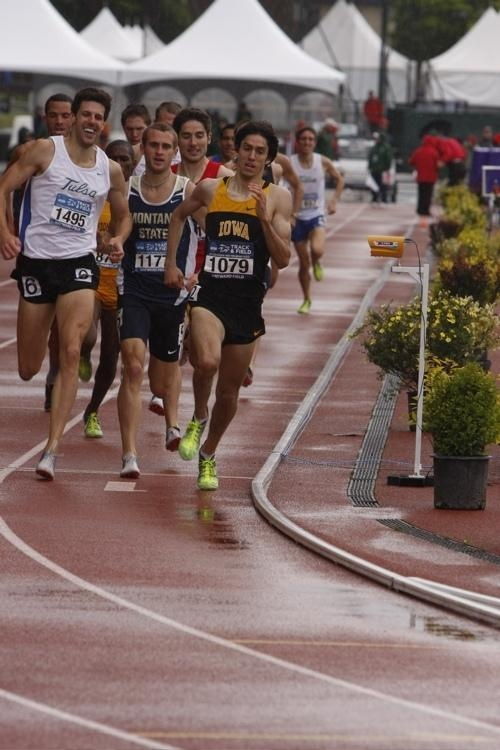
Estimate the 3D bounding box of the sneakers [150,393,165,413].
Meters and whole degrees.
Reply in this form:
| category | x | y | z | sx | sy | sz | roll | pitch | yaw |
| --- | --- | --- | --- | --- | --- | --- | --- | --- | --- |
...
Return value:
| category | x | y | z | sx | sy | sz | roll | pitch | yaw |
| --- | --- | --- | --- | --- | --- | --- | --- | --- | --- |
| sneakers | -0.790 | 0.256 | 7.659 | 0.099 | 0.122 | 0.265 | 13 | -8 | -3 |

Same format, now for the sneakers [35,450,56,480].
| category | x | y | z | sx | sy | sz | roll | pitch | yaw |
| --- | --- | --- | --- | --- | --- | --- | --- | --- | --- |
| sneakers | -1.373 | 0.613 | 6.055 | 0.119 | 0.256 | 0.319 | -1 | 11 | -13 |

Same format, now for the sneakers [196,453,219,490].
| category | x | y | z | sx | sy | sz | roll | pitch | yaw |
| --- | --- | --- | --- | --- | --- | --- | --- | --- | --- |
| sneakers | -0.287 | 0.647 | 6.106 | 0.104 | 0.126 | 0.289 | 0 | 23 | -4 |

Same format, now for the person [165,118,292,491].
| category | x | y | z | sx | sy | sz | roll | pitch | yaw |
| --- | --- | --- | --- | --- | --- | --- | --- | --- | --- |
| person | -0.177 | -0.408 | 5.847 | 0.850 | 2.428 | 0.640 | 4 | 11 | 9 |

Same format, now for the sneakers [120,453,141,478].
| category | x | y | z | sx | sy | sz | roll | pitch | yaw |
| --- | --- | --- | --- | --- | --- | --- | --- | --- | --- |
| sneakers | -0.832 | 0.637 | 6.235 | 0.156 | 0.166 | 0.410 | 1 | -7 | -5 |

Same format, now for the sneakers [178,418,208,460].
| category | x | y | z | sx | sy | sz | roll | pitch | yaw |
| --- | --- | --- | --- | --- | --- | --- | --- | --- | --- |
| sneakers | -0.364 | 0.458 | 6.273 | 0.129 | 0.360 | 0.152 | 24 | -22 | -14 |

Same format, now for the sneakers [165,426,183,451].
| category | x | y | z | sx | sy | sz | roll | pitch | yaw |
| --- | --- | --- | --- | --- | --- | --- | --- | --- | --- |
| sneakers | -0.552 | 0.468 | 6.552 | 0.089 | 0.103 | 0.253 | 1 | -17 | -9 |

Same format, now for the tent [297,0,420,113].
| category | x | y | z | sx | sy | sz | roll | pitch | yaw |
| --- | --- | --- | --- | --- | --- | --- | --- | --- | --- |
| tent | 1.851 | -5.437 | 15.427 | 1.522 | 2.016 | 5.269 | 2 | 10 | 2 |
